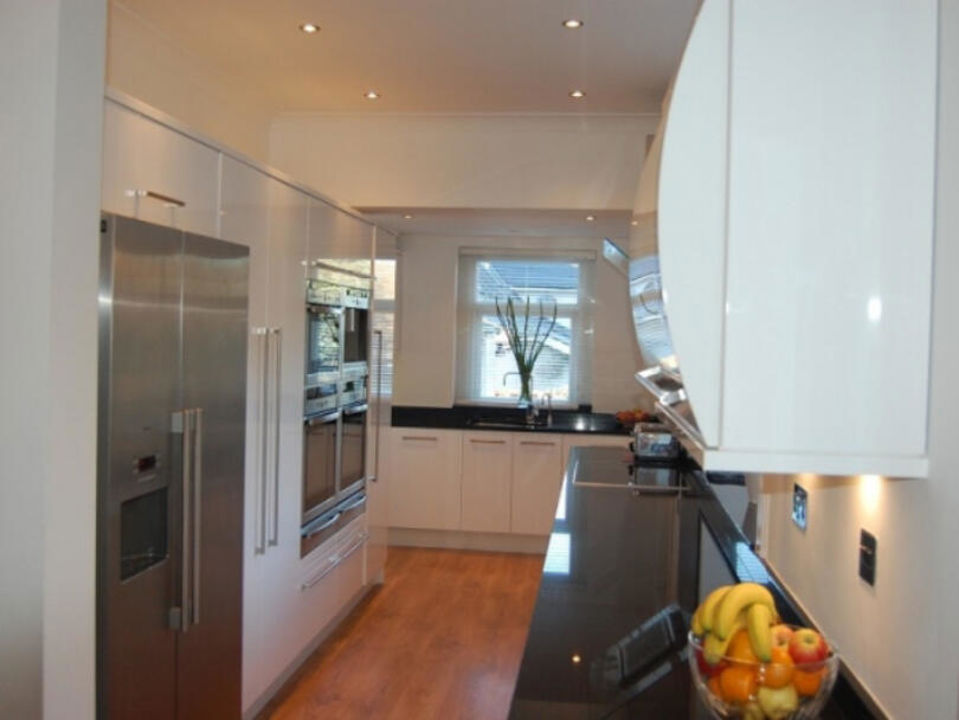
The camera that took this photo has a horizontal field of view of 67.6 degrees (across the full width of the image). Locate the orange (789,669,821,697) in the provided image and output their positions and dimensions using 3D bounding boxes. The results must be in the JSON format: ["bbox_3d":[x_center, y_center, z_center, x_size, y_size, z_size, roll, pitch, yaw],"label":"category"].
[{"bbox_3d":[0.675,0.660,1.498,0.053,0.057,0.057,3,-11,2],"label":"orange"}]

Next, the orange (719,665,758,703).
[{"bbox_3d":[0.540,0.669,1.499,0.067,0.076,0.081,-4,-4,29],"label":"orange"}]

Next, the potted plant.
[{"bbox_3d":[0.366,-0.085,5.855,0.523,0.879,0.246,2,4,2],"label":"potted plant"}]

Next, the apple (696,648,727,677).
[{"bbox_3d":[0.496,0.636,1.524,0.044,0.040,0.049,3,-4,-29],"label":"apple"}]

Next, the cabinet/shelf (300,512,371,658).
[{"bbox_3d":[-0.810,1.224,4.004,0.346,0.289,0.547,-2,6,7],"label":"cabinet/shelf"}]

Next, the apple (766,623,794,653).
[{"bbox_3d":[0.645,0.589,1.538,0.045,0.045,0.048,-12,-47,28],"label":"apple"}]

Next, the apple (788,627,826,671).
[{"bbox_3d":[0.692,0.608,1.519,0.057,0.061,0.060,1,3,2],"label":"apple"}]
